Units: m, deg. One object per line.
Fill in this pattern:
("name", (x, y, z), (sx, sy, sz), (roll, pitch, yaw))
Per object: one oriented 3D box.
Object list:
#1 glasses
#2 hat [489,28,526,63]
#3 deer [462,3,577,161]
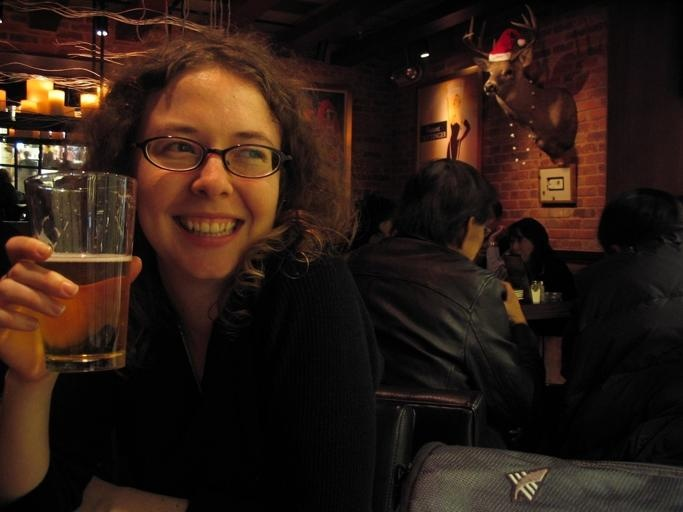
("glasses", (-0.249, -0.189, 1.095), (0.259, 0.075, 0.072), (-1, 6, -18))
("hat", (1.412, -1.775, 4.783), (0.224, 0.299, 0.316), (-4, 8, -40))
("deer", (1.463, -1.522, 5.118), (0.688, 1.359, 1.008), (-3, 7, -29))
